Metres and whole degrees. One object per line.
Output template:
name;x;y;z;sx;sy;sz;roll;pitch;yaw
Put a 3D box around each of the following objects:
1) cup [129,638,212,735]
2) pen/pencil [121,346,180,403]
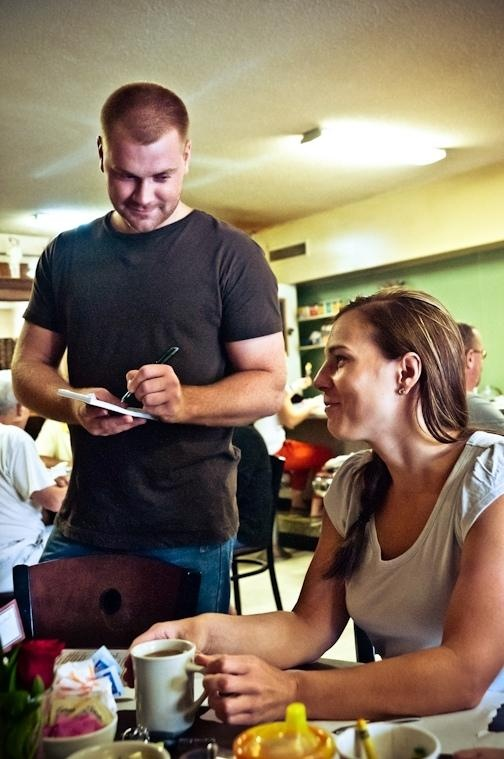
cup;-0.069;0.342;0.702;0.112;0.099;0.068;0;-6;1
pen/pencil;-0.190;-0.010;1.186;0.021;0.146;0.021;46;0;-21
